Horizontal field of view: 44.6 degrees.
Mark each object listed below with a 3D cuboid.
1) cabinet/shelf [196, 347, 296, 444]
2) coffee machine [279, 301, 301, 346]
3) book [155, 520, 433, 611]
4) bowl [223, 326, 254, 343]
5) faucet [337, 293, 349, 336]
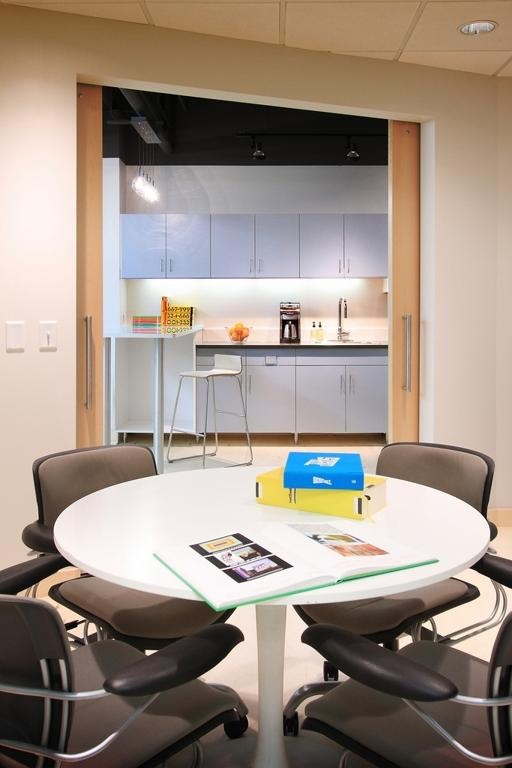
[{"bbox_3d":[-0.088,0.057,5.540,0.828,0.751,0.320,0,-1,-2],"label":"cabinet/shelf"},{"bbox_3d":[0.328,-0.607,6.111,0.184,0.402,0.178,0,3,-3],"label":"coffee machine"},{"bbox_3d":[0.053,0.290,1.070,0.420,0.030,0.313,-1,4,-26],"label":"book"},{"bbox_3d":[-0.163,-0.478,5.832,0.161,0.196,0.289,0,3,-8],"label":"bowl"},{"bbox_3d":[0.862,-0.662,6.194,0.112,0.410,0.109,1,3,7],"label":"faucet"}]
